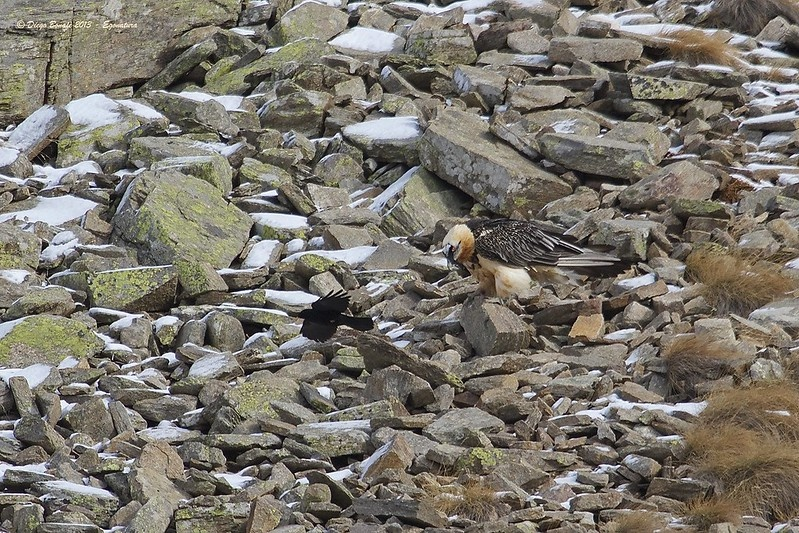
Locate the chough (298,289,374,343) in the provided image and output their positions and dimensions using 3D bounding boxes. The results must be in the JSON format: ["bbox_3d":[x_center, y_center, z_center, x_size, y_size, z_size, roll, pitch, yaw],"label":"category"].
[{"bbox_3d":[-1.192,0.920,29.563,1.187,0.601,0.747,-5,51,-2],"label":"chough"}]

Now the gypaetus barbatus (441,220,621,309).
[{"bbox_3d":[2.713,-0.153,29.049,4.049,1.409,1.188,-1,17,2],"label":"gypaetus barbatus"}]
